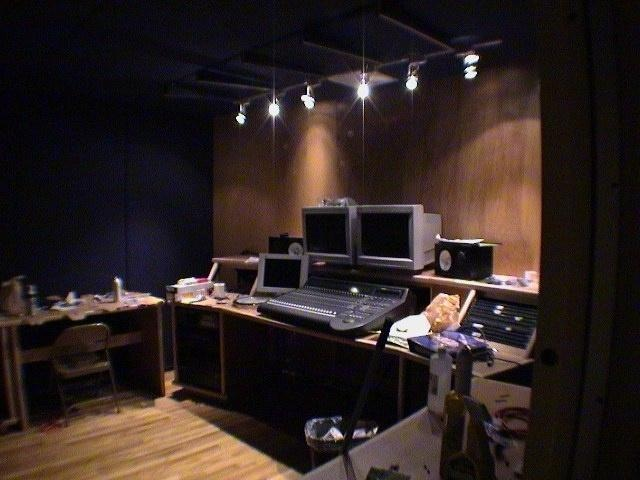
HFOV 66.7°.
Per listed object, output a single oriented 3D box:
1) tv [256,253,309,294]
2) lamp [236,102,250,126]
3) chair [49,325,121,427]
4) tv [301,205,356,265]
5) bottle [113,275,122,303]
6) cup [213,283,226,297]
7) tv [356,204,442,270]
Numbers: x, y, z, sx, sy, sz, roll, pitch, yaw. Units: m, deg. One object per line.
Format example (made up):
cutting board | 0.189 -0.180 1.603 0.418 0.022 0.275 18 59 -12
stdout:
tv | -0.217 0.224 3.102 0.386 0.364 0.218 0 -3 30
lamp | -0.560 -0.894 3.470 0.072 0.144 0.210 1 4 -7
chair | -1.456 0.770 2.955 0.398 0.575 0.457 -2 7 -3
tv | 0.061 -0.051 2.921 0.306 0.313 0.203 4 14 17
bottle | -1.259 0.317 3.023 0.054 0.172 0.264 0 4 -22
cup | -0.679 0.345 3.319 0.085 0.091 0.079 -1 -1 0
tv | 0.445 -0.046 2.786 0.392 0.353 0.504 1 9 23
